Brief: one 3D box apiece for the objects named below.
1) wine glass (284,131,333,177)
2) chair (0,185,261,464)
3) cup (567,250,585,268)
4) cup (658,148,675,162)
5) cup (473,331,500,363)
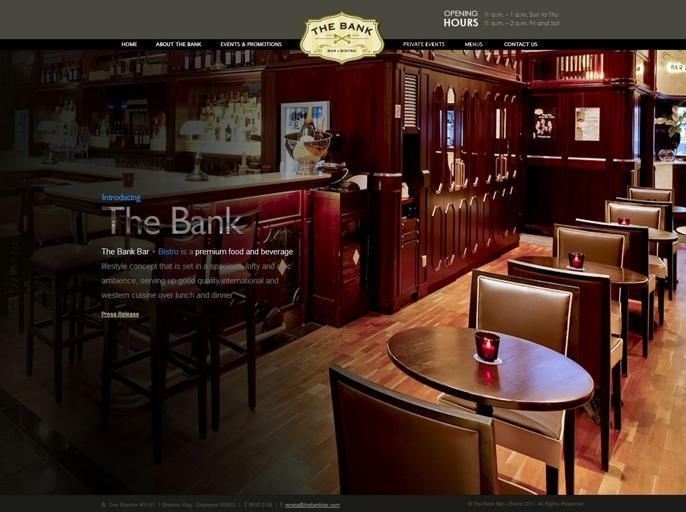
[{"bbox_3d":[-0.268,-0.801,3.961,0.345,0.309,0.139,-2,12,-9],"label":"wine glass"},{"bbox_3d":[-1.212,0.272,3.096,1.424,1.487,1.135,12,14,34],"label":"chair"},{"bbox_3d":[1.427,0.008,3.072,0.107,0.120,0.113,0,2,0],"label":"cup"},{"bbox_3d":[4.710,-1.463,7.379,0.173,0.182,0.190,0,6,-3],"label":"cup"},{"bbox_3d":[0.615,0.384,2.174,0.105,0.103,0.119,0,-1,3],"label":"cup"}]
